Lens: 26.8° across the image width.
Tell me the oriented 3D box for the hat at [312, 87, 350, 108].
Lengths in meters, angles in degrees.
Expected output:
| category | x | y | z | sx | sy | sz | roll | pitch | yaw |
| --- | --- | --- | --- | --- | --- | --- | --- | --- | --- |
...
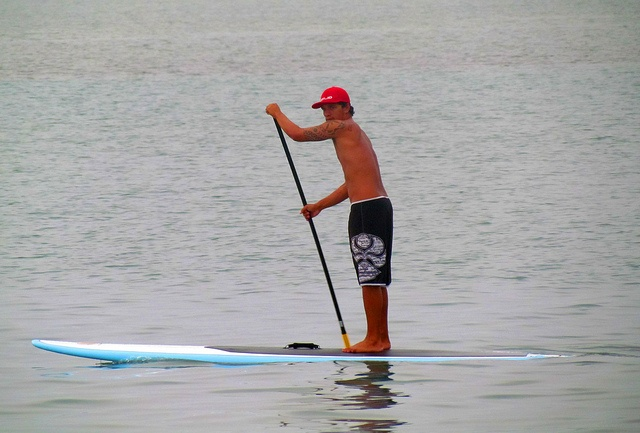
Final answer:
| category | x | y | z | sx | sy | sz | roll | pitch | yaw |
| --- | --- | --- | --- | --- | --- | --- | --- | --- | --- |
| hat | 0.158 | -1.649 | 18.258 | 0.567 | 0.282 | 0.182 | 1 | 91 | -4 |
